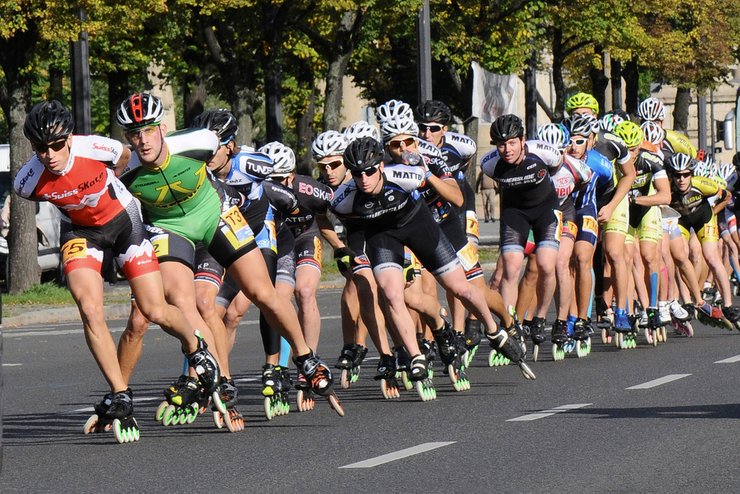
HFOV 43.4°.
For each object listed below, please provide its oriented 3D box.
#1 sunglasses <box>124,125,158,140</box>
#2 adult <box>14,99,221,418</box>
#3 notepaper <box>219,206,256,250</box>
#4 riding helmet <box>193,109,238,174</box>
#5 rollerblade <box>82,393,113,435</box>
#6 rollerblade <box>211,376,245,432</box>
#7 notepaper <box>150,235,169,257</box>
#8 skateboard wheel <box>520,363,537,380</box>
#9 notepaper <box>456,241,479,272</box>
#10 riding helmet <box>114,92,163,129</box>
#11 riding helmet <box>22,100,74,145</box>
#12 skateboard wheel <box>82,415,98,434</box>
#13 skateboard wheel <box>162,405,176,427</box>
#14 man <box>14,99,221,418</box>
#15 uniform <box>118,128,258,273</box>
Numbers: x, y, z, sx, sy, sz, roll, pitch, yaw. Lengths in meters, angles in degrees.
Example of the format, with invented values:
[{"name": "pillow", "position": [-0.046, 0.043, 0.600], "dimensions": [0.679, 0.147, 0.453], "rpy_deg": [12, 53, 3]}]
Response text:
[{"name": "sunglasses", "position": [-1.852, -0.931, 7.540], "dimensions": [0.129, 0.053, 0.181], "rpy_deg": [-18, -3, -5]}, {"name": "adult", "position": [-2.129, 0.057, 7.802], "dimensions": [1.159, 2.864, 1.136], "rpy_deg": [-20, 27, -25]}, {"name": "notepaper", "position": [-1.177, -0.164, 8.151], "dimensions": [0.329, 0.437, 0.047], "rpy_deg": [-16, -25, -47]}, {"name": "riding helmet", "position": [-1.449, -1.033, 8.863], "dimensions": [0.414, 0.617, 0.537], "rpy_deg": [2, -6, 1]}, {"name": "rollerblade", "position": [-2.166, 1.333, 7.522], "dimensions": [0.150, 0.280, 0.422], "rpy_deg": [17, -3, 4]}, {"name": "rollerblade", "position": [-1.219, 1.371, 7.817], "dimensions": [0.159, 0.593, 0.255], "rpy_deg": [-12, 36, 9]}, {"name": "notepaper", "position": [-1.787, -0.019, 7.922], "dimensions": [0.139, 0.174, 0.177], "rpy_deg": [-6, -37, -19]}, {"name": "skateboard wheel", "position": [1.667, 1.321, 9.879], "dimensions": [0.059, 0.209, 0.064], "rpy_deg": [-28, -3, -1]}, {"name": "notepaper", "position": [1.027, 0.110, 9.927], "dimensions": [0.068, 0.275, 0.267], "rpy_deg": [-10, 29, 47]}, {"name": "riding helmet", "position": [-1.893, -1.130, 7.719], "dimensions": [0.406, 0.313, 0.603], "rpy_deg": [-14, 7, -7]}, {"name": "riding helmet", "position": [-2.561, -1.023, 7.407], "dimensions": [0.397, 0.305, 0.577], "rpy_deg": [-10, 20, -19]}, {"name": "skateboard wheel", "position": [-2.359, 1.499, 7.857], "dimensions": [0.109, 0.198, 0.081], "rpy_deg": [21, 14, -29]}, {"name": "skateboard wheel", "position": [-1.735, 1.451, 8.040], "dimensions": [0.054, 0.167, 0.153], "rpy_deg": [12, 11, 14]}, {"name": "man", "position": [-2.137, 0.049, 7.785], "dimensions": [1.184, 2.873, 1.227], "rpy_deg": [-15, 26, -15]}, {"name": "uniform", "position": [-1.596, -0.362, 7.978], "dimensions": [0.652, 1.051, 0.516], "rpy_deg": [-30, 31, -5]}]
